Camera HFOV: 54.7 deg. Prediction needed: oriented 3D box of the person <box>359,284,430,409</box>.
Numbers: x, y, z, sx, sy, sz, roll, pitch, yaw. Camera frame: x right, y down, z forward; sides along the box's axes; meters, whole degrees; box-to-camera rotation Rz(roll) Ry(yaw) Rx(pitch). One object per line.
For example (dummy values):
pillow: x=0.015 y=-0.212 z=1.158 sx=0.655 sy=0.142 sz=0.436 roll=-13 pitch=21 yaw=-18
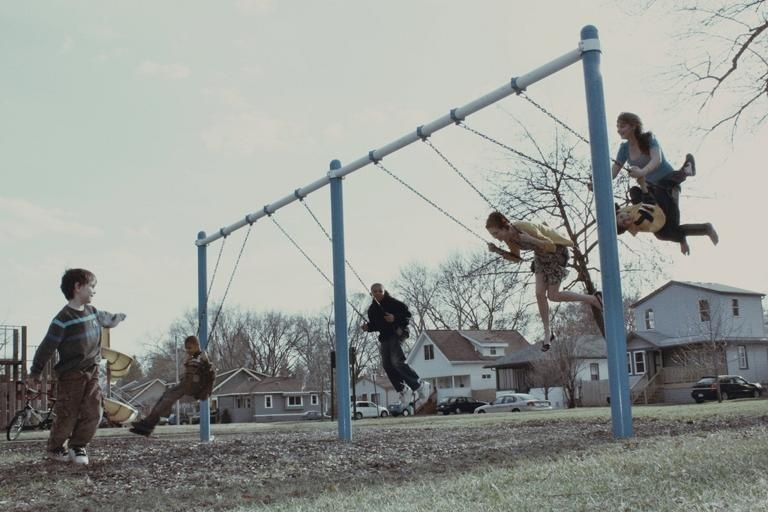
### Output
person: x=0.154 y=1.585 z=13.181 sx=0.790 sy=2.247 sz=0.845 roll=-11 pitch=-3 yaw=9

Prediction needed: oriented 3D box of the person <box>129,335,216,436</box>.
person: x=-3.536 y=2.180 z=12.576 sx=1.206 sy=1.722 sz=0.738 roll=8 pitch=-18 yaw=-10

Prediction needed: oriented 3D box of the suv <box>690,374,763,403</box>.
suv: x=15.870 y=6.135 z=34.423 sx=3.416 sy=1.285 sz=1.272 roll=8 pitch=-20 yaw=-27
